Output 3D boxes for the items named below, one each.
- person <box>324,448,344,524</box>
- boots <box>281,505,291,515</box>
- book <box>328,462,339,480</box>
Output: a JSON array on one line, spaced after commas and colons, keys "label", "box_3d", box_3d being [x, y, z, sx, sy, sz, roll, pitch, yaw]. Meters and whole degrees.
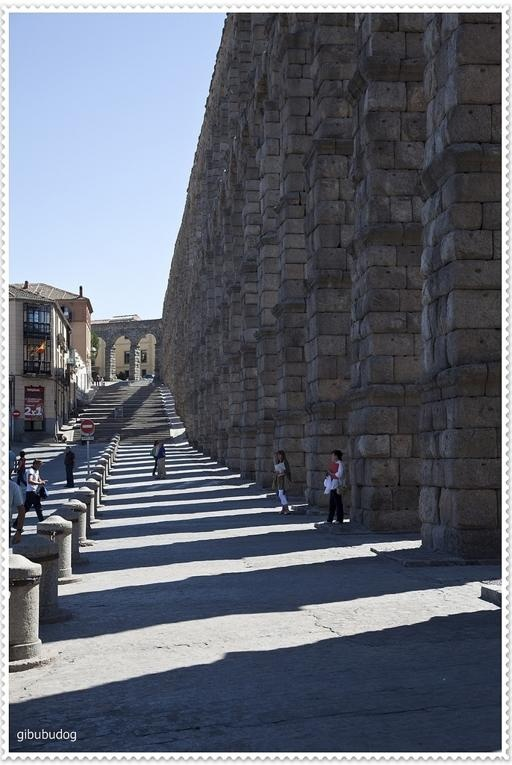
[{"label": "person", "box_3d": [1.258, 1.684, 18.235, 0.312, 1.000, 1.359, -2, -1, 4]}, {"label": "boots", "box_3d": [0.538, 2.392, 21.354, 0.121, 0.204, 0.195, -5, -10, 37]}, {"label": "book", "box_3d": [1.230, 1.414, 18.199, 0.148, 0.230, 0.083, -10, -19, 44]}]
